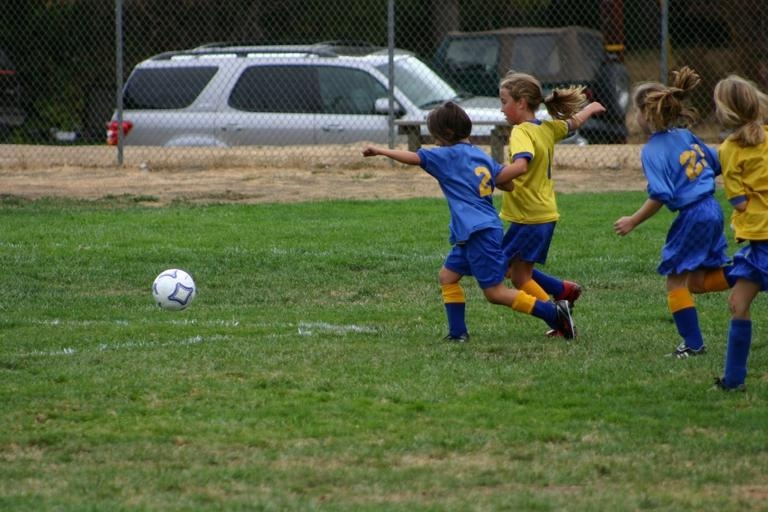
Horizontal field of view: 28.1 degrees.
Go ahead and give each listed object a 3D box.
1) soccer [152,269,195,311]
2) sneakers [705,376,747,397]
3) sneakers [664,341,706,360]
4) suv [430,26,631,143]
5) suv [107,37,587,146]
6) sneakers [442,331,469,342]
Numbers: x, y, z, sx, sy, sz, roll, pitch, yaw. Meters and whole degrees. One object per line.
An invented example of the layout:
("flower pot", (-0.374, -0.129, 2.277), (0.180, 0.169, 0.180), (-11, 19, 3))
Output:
("soccer", (-2.004, 0.338, 14.598), (0.469, 0.325, 0.458), (8, 19, -14))
("sneakers", (2.919, 1.149, 13.155), (0.345, 0.143, 0.126), (0, -3, 12))
("sneakers", (2.665, 0.861, 13.644), (0.380, 0.148, 0.135), (0, -12, 2))
("suv", (2.084, -2.423, 21.168), (2.492, 1.397, 1.441), (6, 13, 7))
("suv", (-0.910, -1.878, 21.183), (5.150, 1.918, 2.184), (-1, 8, 5))
("sneakers", (0.653, 0.748, 13.958), (0.231, 0.082, 0.082), (2, 0, 1))
